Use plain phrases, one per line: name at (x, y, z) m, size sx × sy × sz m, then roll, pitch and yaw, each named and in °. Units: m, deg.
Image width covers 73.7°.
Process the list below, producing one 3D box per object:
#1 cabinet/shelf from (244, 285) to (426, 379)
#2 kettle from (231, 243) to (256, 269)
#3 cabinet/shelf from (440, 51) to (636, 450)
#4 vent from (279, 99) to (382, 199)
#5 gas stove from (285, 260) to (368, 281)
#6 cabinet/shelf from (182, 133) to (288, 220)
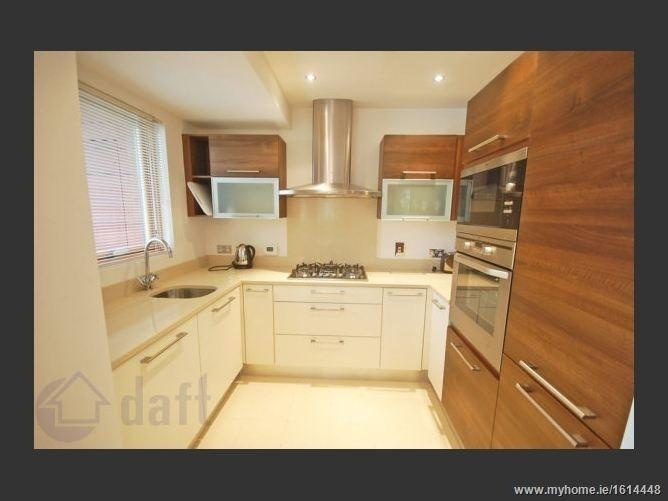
cabinet/shelf at (0.034, 0.512, 2.880) m, size 1.189 × 0.540 × 0.372 m, roll -1°, pitch -3°, yaw 17°
kettle at (-0.640, 0.039, 3.157) m, size 0.164 × 0.168 × 0.176 m, roll -1°, pitch 9°, yaw -8°
cabinet/shelf at (1.010, 0.549, 1.251) m, size 1.153 × 4.069 × 3.769 m, roll 2°, pitch 5°, yaw 11°
vent at (-0.018, -0.649, 2.957) m, size 0.824 × 0.642 × 0.716 m, roll 2°, pitch 2°, yaw 7°
gas stove at (-0.026, 0.130, 2.971) m, size 0.474 × 0.037 × 0.511 m, roll 1°, pitch 8°, yaw 4°
cabinet/shelf at (-0.602, -0.460, 2.907) m, size 0.678 × 0.545 × 0.257 m, roll 4°, pitch 11°, yaw 20°
